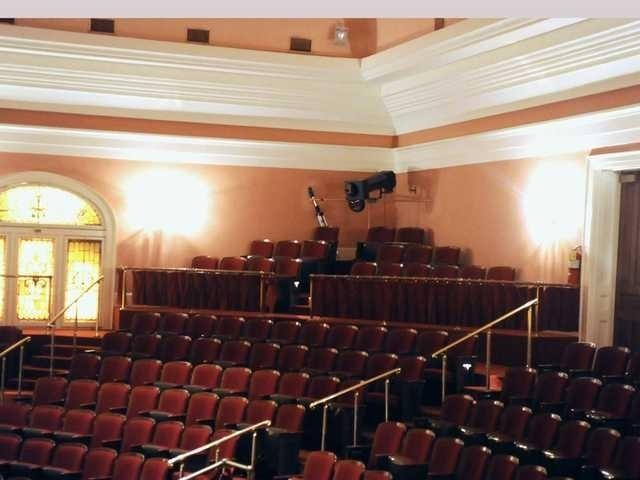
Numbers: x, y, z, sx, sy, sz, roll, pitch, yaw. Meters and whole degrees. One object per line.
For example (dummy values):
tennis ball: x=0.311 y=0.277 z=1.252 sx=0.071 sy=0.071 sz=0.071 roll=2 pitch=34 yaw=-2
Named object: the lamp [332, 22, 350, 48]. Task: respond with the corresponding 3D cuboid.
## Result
lamp: x=0.228 y=-2.283 z=6.365 sx=0.179 sy=0.238 sz=0.258 roll=-2 pitch=0 yaw=3
